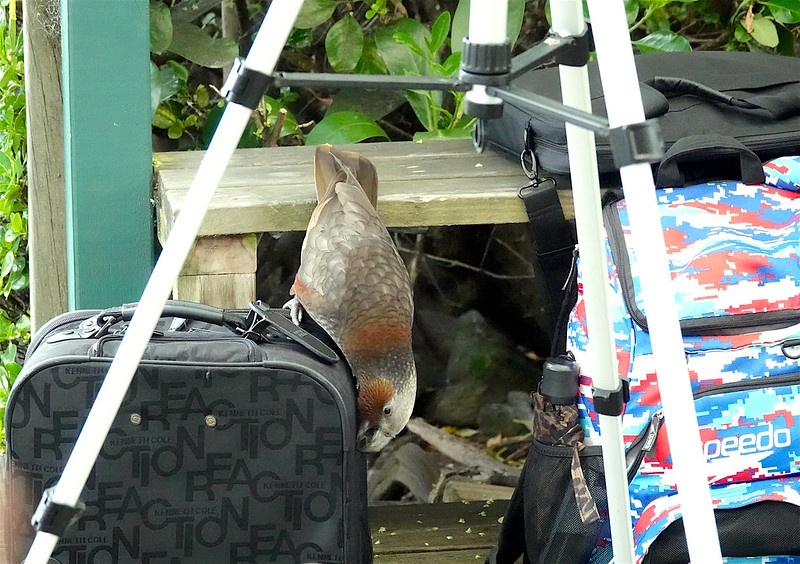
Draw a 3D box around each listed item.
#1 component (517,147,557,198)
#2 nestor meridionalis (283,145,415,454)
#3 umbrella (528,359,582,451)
[{"bbox_3d":[0.288,-0.222,2.558,0.089,0.103,0.029,-18,-5,-15],"label":"component"},{"bbox_3d":[-0.085,0.027,2.522,0.252,0.629,0.243,-1,0,-43],"label":"nestor meridionalis"},{"bbox_3d":[0.328,0.253,2.459,0.128,0.195,0.106,10,14,39],"label":"umbrella"}]
